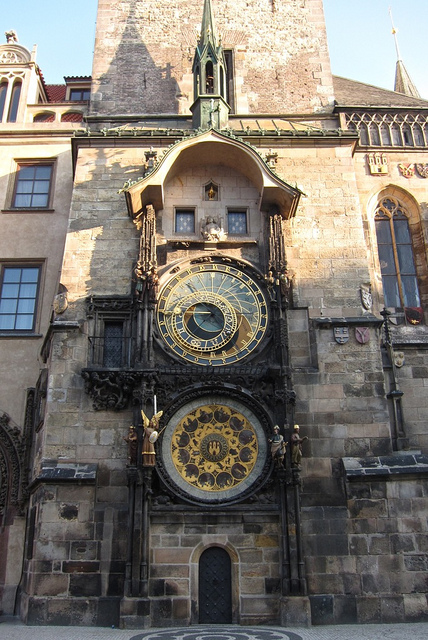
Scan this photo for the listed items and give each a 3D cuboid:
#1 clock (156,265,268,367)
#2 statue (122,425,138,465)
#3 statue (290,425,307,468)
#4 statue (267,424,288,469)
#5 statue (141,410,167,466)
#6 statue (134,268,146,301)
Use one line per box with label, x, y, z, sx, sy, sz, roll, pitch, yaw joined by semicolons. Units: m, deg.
clock;-0.081;-0.002;13.525;2.141;2.048;0.337;-14;-25;-8
statue;-1.668;2.511;11.602;0.253;0.771;0.174;8;-23;-26
statue;1.744;2.631;11.905;0.292;0.838;0.696;-10;-22;18
statue;1.308;2.606;11.774;0.289;0.820;0.381;9;-24;-28
statue;-1.261;2.358;11.528;0.525;1.014;0.296;1;-13;1
statue;-1.700;-0.786;13.239;0.229;0.725;0.366;0;-21;-7
